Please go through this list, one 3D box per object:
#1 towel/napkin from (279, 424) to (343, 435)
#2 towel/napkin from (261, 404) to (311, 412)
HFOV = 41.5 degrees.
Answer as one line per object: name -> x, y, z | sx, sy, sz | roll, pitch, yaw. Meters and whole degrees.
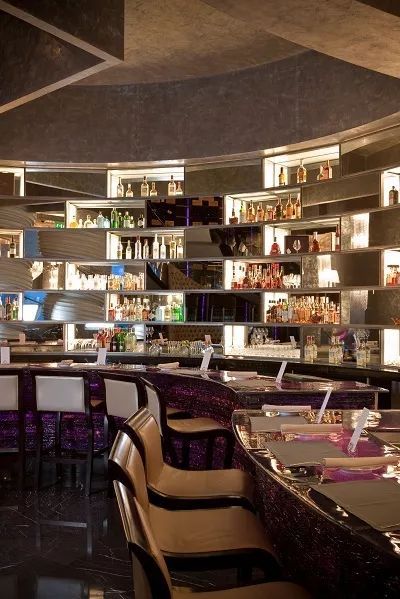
towel/napkin -> 0.408, 0.478, 1.932 | 0.229, 0.031, 0.080 | 2, -4, -11
towel/napkin -> 0.393, 0.506, 2.409 | 0.222, 0.016, 0.138 | 1, -4, -3
